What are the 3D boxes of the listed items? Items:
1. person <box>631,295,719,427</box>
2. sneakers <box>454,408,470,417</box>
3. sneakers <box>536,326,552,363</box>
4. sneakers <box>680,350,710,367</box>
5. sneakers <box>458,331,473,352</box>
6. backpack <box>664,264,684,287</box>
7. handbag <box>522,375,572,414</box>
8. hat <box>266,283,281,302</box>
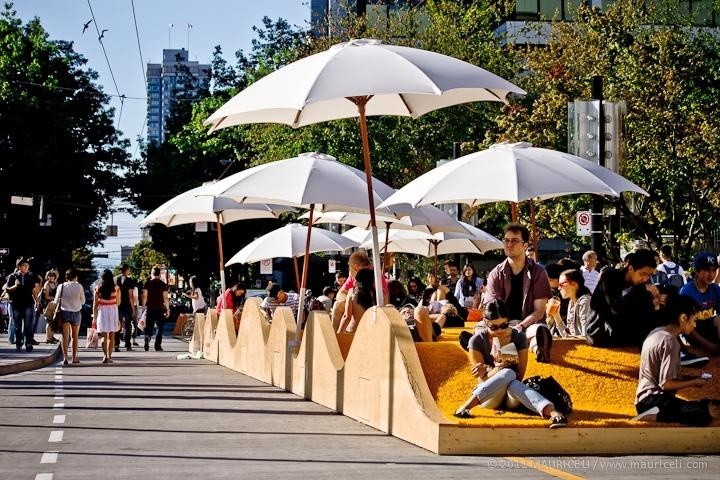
[{"bbox_3d":[4.372,1.665,13.065,1.015,1.789,0.479,0,-2,7],"label":"person"},{"bbox_3d":[1.427,2.389,12.949,0.223,0.109,0.131,0,-2,6],"label":"sneakers"},{"bbox_3d":[2.725,1.535,13.839,0.205,0.598,0.228,-1,2,0],"label":"sneakers"},{"bbox_3d":[5.015,1.768,13.855,0.488,0.208,0.182,-1,-1,10],"label":"sneakers"},{"bbox_3d":[1.598,1.514,14.077,0.100,0.295,0.224,0,-2,-5],"label":"sneakers"},{"bbox_3d":[6.497,0.731,19.390,0.386,0.598,0.322,0,-6,-17],"label":"backpack"},{"bbox_3d":[2.647,2.198,13.073,0.574,0.193,0.490,42,7,-4],"label":"handbag"},{"bbox_3d":[-2.214,1.324,24.048,0.310,0.456,0.436,2,15,-7],"label":"hat"}]
